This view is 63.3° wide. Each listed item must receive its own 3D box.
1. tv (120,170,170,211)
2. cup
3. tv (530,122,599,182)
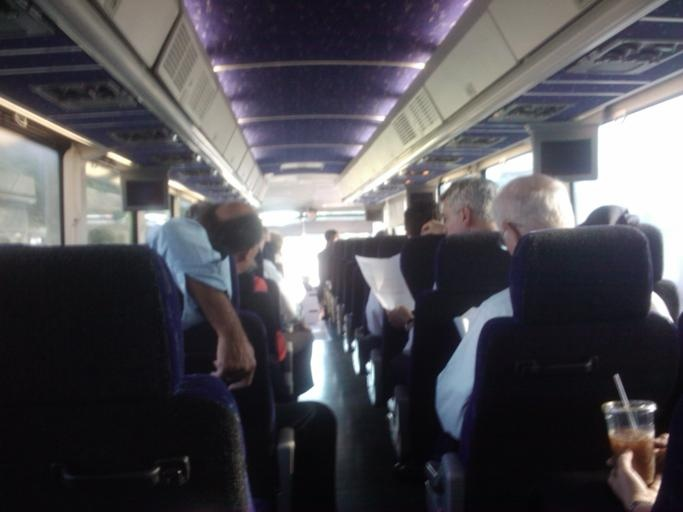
[{"bbox_3d":[-2.213,-0.674,6.264,0.559,0.522,0.283,-2,-17,-17],"label":"tv"},{"bbox_3d":[1.036,0.663,1.971,0.178,0.270,0.182,-2,-11,0],"label":"cup"},{"bbox_3d":[1.970,-0.954,4.835,0.537,0.536,0.356,2,32,26],"label":"tv"}]
